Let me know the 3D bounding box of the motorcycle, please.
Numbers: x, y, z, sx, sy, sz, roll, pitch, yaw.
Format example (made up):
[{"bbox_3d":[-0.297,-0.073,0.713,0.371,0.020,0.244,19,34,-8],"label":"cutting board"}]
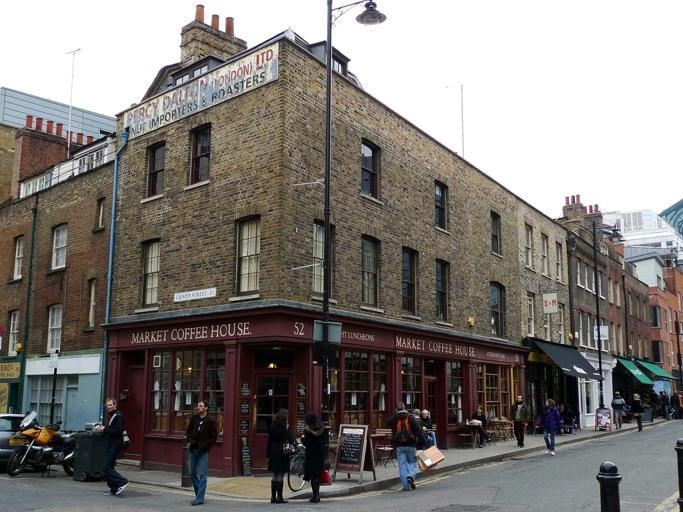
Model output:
[{"bbox_3d":[-9.532,5.952,22.675,2.044,1.996,1.419,2,-17,-16],"label":"motorcycle"}]

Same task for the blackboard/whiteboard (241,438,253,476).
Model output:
[{"bbox_3d":[-2.952,6.207,22.285,0.460,1.188,0.190,12,-21,-42],"label":"blackboard/whiteboard"}]

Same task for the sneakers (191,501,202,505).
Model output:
[{"bbox_3d":[-3.789,6.407,18.577,0.241,0.106,0.095,-6,-8,26],"label":"sneakers"}]

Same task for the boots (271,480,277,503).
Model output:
[{"bbox_3d":[-1.788,6.189,18.869,0.149,0.555,0.265,0,-16,-8],"label":"boots"}]

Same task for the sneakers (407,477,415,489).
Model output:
[{"bbox_3d":[2.036,6.543,20.692,0.124,0.386,0.157,-13,-1,13],"label":"sneakers"}]

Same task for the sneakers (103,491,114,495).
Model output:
[{"bbox_3d":[-6.392,6.480,19.577,0.283,0.129,0.107,8,-15,14],"label":"sneakers"}]

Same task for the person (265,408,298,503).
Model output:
[{"bbox_3d":[-1.628,5.298,19.087,0.658,2.441,0.689,3,-17,-18],"label":"person"}]

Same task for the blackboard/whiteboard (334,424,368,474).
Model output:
[{"bbox_3d":[0.334,5.656,21.057,1.158,1.421,0.363,-13,-19,31],"label":"blackboard/whiteboard"}]

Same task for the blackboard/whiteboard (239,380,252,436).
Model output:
[{"bbox_3d":[-3.046,4.806,22.532,0.427,1.605,0.278,5,-18,-25],"label":"blackboard/whiteboard"}]

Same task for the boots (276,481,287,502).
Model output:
[{"bbox_3d":[-1.602,6.203,18.908,0.194,0.556,0.363,-8,-17,17],"label":"boots"}]

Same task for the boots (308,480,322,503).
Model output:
[{"bbox_3d":[-0.728,6.264,19.180,0.256,0.609,0.338,-2,-16,-3],"label":"boots"}]

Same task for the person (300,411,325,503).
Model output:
[{"bbox_3d":[-0.746,5.431,19.399,0.562,2.324,0.337,-2,-16,-3],"label":"person"}]

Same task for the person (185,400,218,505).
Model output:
[{"bbox_3d":[-3.780,5.255,19.239,0.769,2.686,0.937,4,-17,-22],"label":"person"}]
